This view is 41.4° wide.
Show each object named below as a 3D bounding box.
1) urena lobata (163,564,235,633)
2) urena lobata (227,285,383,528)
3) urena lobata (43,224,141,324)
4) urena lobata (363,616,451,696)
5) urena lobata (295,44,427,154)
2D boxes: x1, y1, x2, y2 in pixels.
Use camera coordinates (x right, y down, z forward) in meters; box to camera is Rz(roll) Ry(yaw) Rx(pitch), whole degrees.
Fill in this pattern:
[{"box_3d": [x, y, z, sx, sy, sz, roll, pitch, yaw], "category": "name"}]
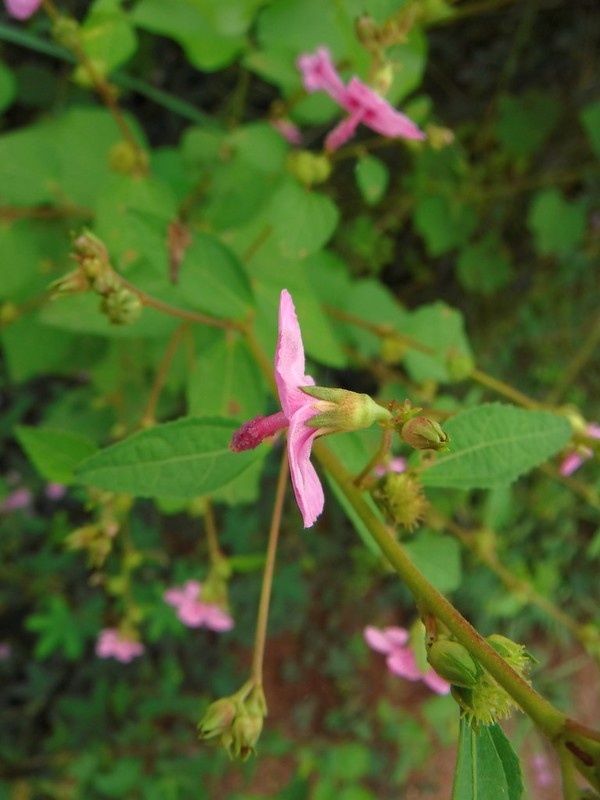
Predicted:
[{"box_3d": [-0.163, 0.303, 1.205, 0.108, 0.042, 0.099, 35, 49, -8], "category": "urena lobata"}, {"box_3d": [-0.025, 0.019, 0.878, 0.188, 0.105, 0.282, -5, 67, 1], "category": "urena lobata"}, {"box_3d": [-0.229, -0.140, 0.908, 0.099, 0.096, 0.107, 5, 60, -8], "category": "urena lobata"}, {"box_3d": [0.199, 0.414, 1.292, 0.133, 0.043, 0.167, 40, 28, 10], "category": "urena lobata"}, {"box_3d": [0.069, -0.366, 1.009, 0.176, 0.050, 0.111, 30, 86, 2], "category": "urena lobata"}]
